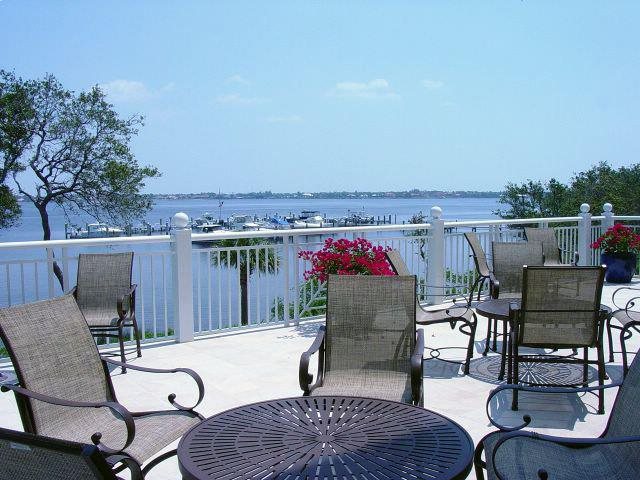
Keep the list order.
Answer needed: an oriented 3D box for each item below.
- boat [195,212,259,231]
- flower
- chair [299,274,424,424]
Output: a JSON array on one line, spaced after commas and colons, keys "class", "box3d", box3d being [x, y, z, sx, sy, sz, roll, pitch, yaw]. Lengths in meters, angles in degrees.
[{"class": "boat", "box3d": [-12.204, -2.291, 74.077, 6.489, 1.740, 23.636, -4, 3, -9]}, {"class": "flower", "box3d": [0.326, 0.164, 6.916, 0.882, 0.515, 0.736, -17, 14, -14]}, {"class": "chair", "box3d": [0.291, 0.937, 3.970, 0.827, 1.284, 0.870, 1, 9, 18]}]
